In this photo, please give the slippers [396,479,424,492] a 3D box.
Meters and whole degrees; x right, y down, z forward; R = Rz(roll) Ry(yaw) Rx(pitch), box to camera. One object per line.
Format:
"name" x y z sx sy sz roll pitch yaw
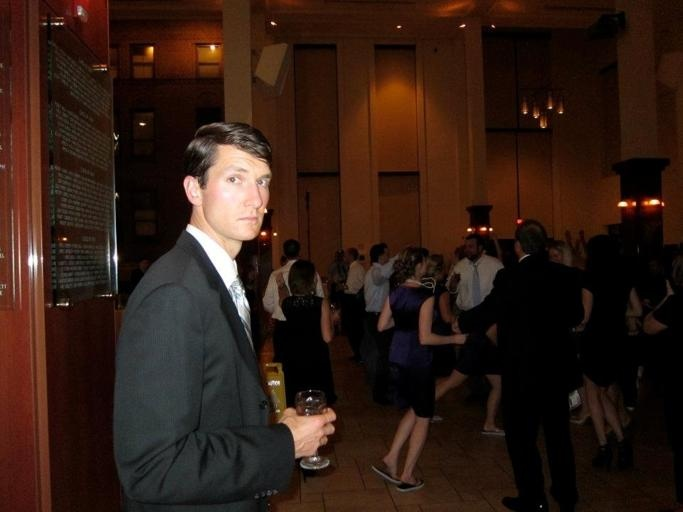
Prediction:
"slippers" 0.529 1.784 4.693 0.156 0.043 0.084 -4 -6 2
